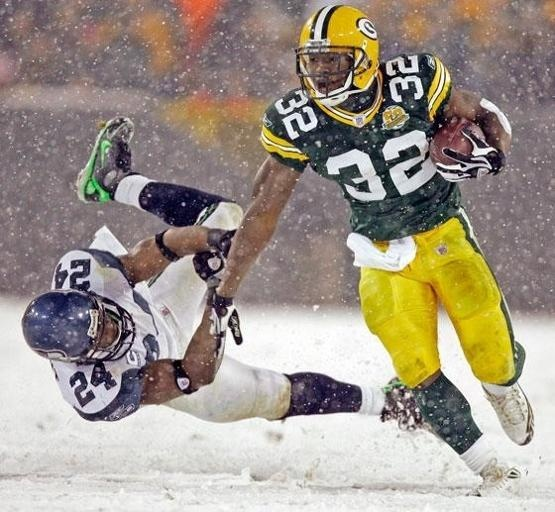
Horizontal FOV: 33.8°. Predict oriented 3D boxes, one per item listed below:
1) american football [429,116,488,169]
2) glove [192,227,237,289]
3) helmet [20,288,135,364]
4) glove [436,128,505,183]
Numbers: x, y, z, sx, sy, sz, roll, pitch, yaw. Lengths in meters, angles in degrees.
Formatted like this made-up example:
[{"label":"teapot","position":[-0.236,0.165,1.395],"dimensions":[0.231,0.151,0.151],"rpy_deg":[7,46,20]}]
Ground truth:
[{"label":"american football","position":[0.850,-0.574,4.266],"dimensions":[0.237,0.199,0.251],"rpy_deg":[17,30,22]},{"label":"glove","position":[-0.297,0.001,4.997],"dimensions":[0.140,0.328,0.203],"rpy_deg":[-12,53,-45]},{"label":"helmet","position":[-0.978,0.333,4.507],"dimensions":[0.451,0.302,0.352],"rpy_deg":[11,88,-5]},{"label":"glove","position":[0.888,-0.510,4.228],"dimensions":[0.281,0.217,0.278],"rpy_deg":[11,66,15]}]
